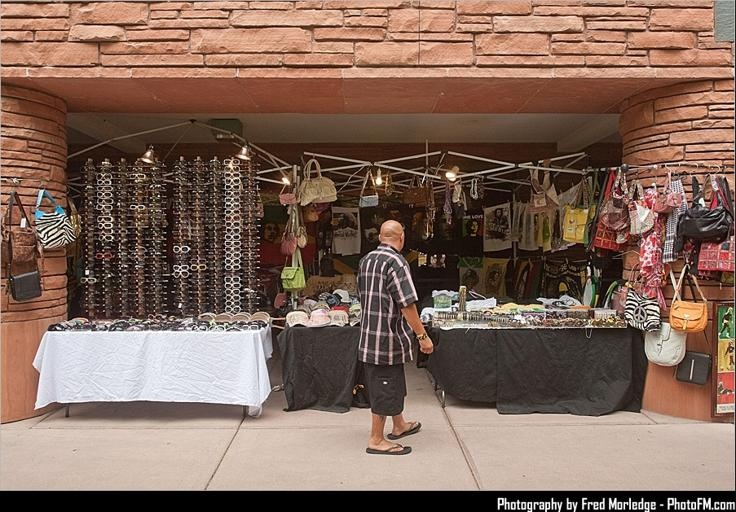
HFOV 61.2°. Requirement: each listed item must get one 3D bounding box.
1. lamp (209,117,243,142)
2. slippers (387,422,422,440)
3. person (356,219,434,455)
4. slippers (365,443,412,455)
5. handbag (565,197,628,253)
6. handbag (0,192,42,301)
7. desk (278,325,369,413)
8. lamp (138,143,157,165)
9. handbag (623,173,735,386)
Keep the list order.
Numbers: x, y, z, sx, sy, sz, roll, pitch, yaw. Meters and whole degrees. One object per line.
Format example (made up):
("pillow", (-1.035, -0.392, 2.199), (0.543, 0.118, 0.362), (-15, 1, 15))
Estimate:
("lamp", (-2.087, -1.874, 9.132), (0.463, 0.319, 0.592), (-3, 3, -15))
("slippers", (0.431, 1.961, 7.026), (0.329, 0.080, 0.155), (-19, 4, -19))
("person", (0.268, 0.869, 6.671), (0.714, 2.498, 0.357), (-2, 3, 0))
("slippers", (0.233, 2.054, 6.746), (0.428, 0.093, 0.162), (-1, -2, 9))
("handbag", (3.019, -0.411, 8.214), (0.491, 0.671, 1.121), (-2, 3, 1))
("handbag", (-4.119, -0.123, 7.375), (0.402, 1.311, 0.237), (-4, 3, -27))
("desk", (-0.544, 1.390, 8.039), (1.107, 0.874, 1.051), (0, 0, -3))
("lamp", (-2.843, -1.306, 8.035), (0.215, 0.241, 0.206), (0, 3, 39))
("handbag", (3.625, 0.209, 7.216), (1.415, 2.226, 0.588), (3, 4, 36))
